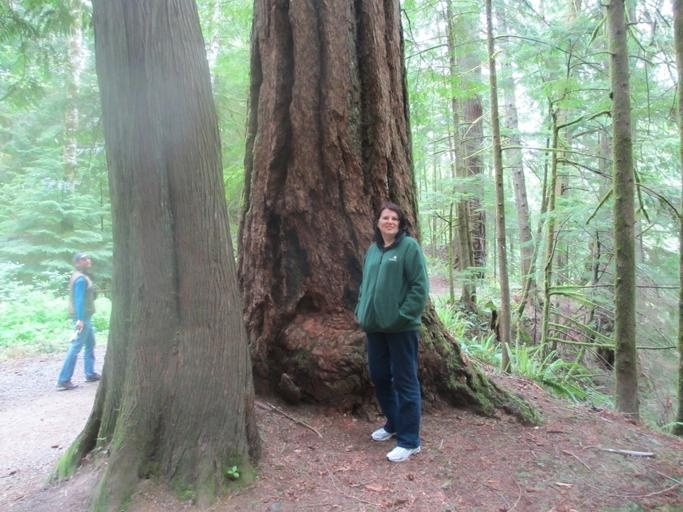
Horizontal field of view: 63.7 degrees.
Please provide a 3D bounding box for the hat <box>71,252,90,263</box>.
[{"bbox_3d":[-5.193,0.013,10.949,0.271,0.132,0.202,-22,14,-41],"label":"hat"}]

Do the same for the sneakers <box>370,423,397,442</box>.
[{"bbox_3d":[0.516,2.170,6.733,0.286,0.137,0.134,1,-1,-6],"label":"sneakers"}]

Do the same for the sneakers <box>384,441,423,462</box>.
[{"bbox_3d":[0.714,2.265,6.351,0.376,0.177,0.151,4,-4,-21],"label":"sneakers"}]

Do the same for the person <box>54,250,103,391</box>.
[{"bbox_3d":[-4.751,1.124,9.821,0.681,2.362,1.084,-6,9,-25],"label":"person"}]

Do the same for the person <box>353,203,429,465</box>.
[{"bbox_3d":[0.581,0.850,6.535,0.781,2.920,0.712,4,10,37],"label":"person"}]

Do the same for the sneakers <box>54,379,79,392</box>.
[{"bbox_3d":[-4.796,2.265,9.603,0.353,0.173,0.148,0,3,-16],"label":"sneakers"}]
